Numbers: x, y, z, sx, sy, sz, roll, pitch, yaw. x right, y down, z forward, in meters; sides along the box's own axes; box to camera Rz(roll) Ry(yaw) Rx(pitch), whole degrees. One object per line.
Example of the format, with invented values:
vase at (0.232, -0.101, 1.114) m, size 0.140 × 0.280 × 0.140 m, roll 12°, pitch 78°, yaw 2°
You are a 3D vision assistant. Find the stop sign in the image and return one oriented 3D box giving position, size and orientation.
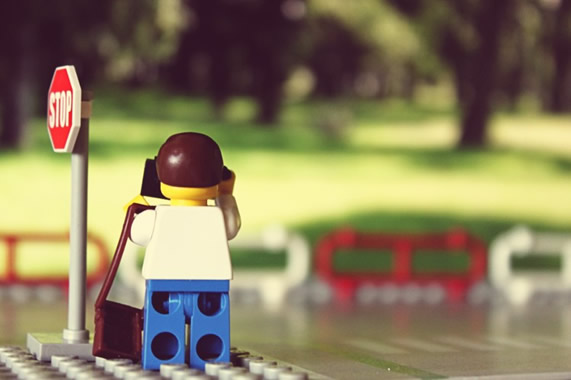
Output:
stop sign at (-1.833, -0.691, 9.417) m, size 0.207 × 0.724 × 0.436 m, roll -1°, pitch 6°, yaw -29°
